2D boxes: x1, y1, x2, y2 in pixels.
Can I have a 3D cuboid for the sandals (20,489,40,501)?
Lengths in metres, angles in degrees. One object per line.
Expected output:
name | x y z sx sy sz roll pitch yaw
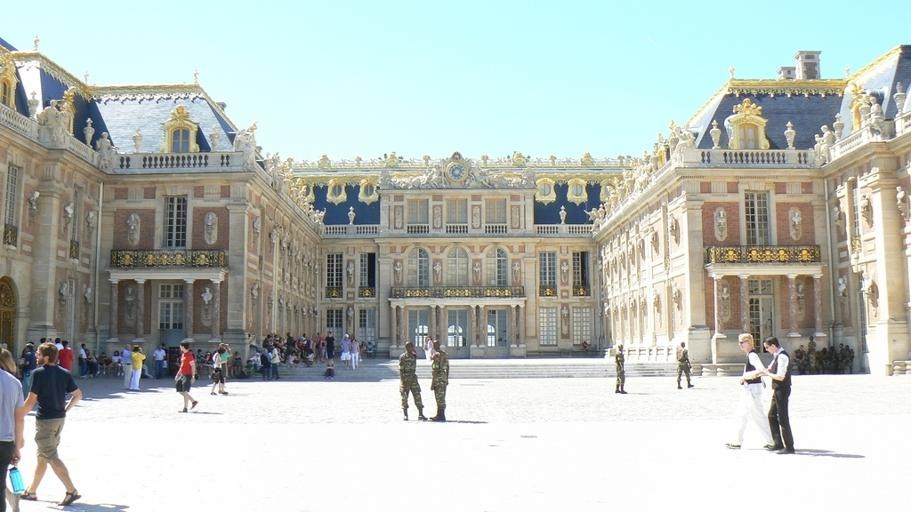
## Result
sandals | -12.099 6.821 29.500 0.470 0.151 0.209 4 -6 2

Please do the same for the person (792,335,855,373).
person | 17.681 4.780 50.029 2.168 1.108 0.510 0 -12 4

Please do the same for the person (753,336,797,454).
person | 10.060 4.281 32.295 0.779 3.572 0.940 -3 -9 16

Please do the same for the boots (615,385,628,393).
boots | 6.890 5.533 43.005 0.379 0.352 0.418 0 -4 -15
